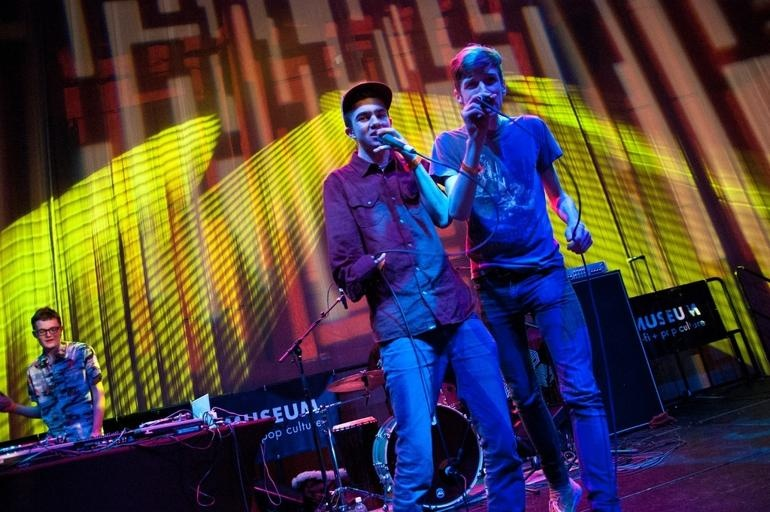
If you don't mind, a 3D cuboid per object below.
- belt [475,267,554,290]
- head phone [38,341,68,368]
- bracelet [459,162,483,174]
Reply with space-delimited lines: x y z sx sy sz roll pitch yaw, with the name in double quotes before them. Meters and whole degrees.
"belt" 0.894 0.152 4.517 0.295 0.095 0.231 -5 -5 -26
"head phone" -3.317 0.988 6.218 0.183 0.219 0.297 -6 -16 -42
"bracelet" 0.608 -0.619 4.448 0.109 0.045 0.111 17 12 32
